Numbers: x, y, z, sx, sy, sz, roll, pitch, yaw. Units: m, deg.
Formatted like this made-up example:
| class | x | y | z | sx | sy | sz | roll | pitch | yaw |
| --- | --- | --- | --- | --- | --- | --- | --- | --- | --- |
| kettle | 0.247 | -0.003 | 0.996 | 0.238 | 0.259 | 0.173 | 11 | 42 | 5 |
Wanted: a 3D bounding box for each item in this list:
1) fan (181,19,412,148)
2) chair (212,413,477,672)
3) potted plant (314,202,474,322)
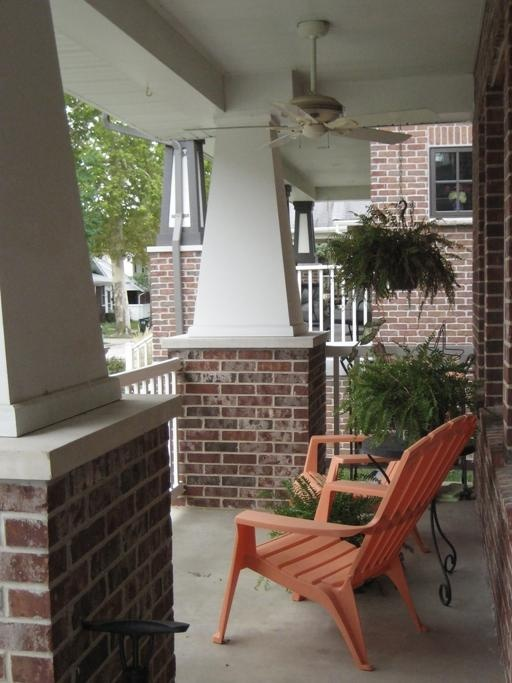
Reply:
| class | x | y | z | sx | sy | sz | roll | pitch | yaw |
| --- | --- | --- | --- | --- | --- | --- | --- | --- | --- |
| fan | 0.359 | -1.335 | 3.931 | 1.122 | 0.626 | 0.911 | 3 | 11 | 17 |
| chair | 0.289 | 0.719 | 2.643 | 1.032 | 0.853 | 0.894 | -1 | -1 | 35 |
| potted plant | 0.821 | -0.605 | 4.245 | 0.483 | 0.367 | 0.452 | -5 | 22 | 47 |
